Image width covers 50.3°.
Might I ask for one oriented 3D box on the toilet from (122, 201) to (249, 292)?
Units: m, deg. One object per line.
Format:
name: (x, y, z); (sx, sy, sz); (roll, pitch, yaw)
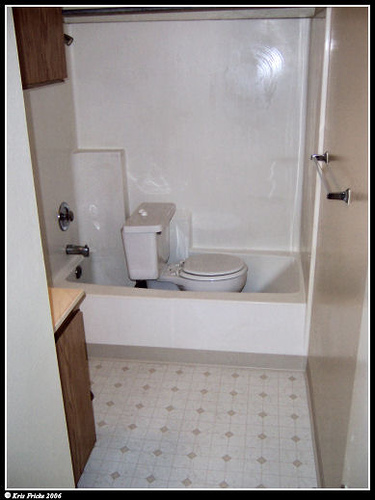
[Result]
toilet: (0.011, 0.073, 2.496); (0.630, 0.715, 0.519); (-4, 15, 10)

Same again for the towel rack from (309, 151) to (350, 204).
towel rack: (0.480, -0.256, 1.414); (0.080, 0.175, 0.842); (2, 17, 15)

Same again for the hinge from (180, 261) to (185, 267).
hinge: (-0.031, 0.090, 2.468); (0.026, 0.038, 0.021); (-9, 28, -18)
